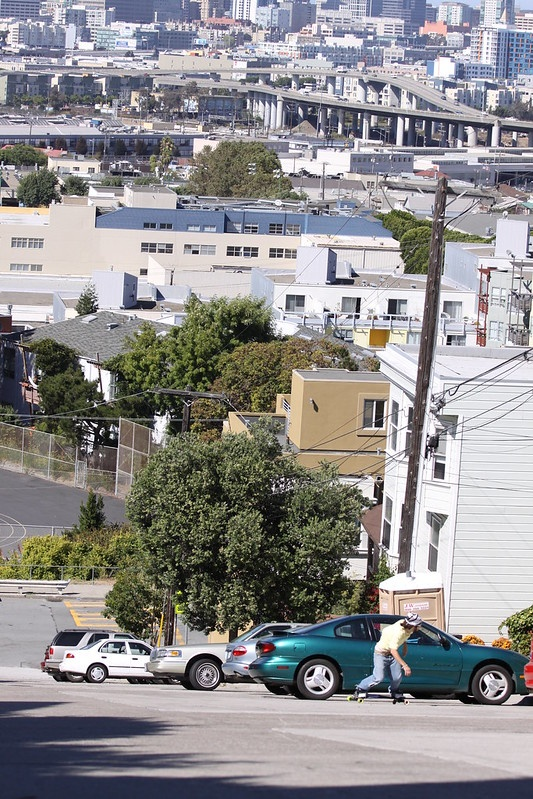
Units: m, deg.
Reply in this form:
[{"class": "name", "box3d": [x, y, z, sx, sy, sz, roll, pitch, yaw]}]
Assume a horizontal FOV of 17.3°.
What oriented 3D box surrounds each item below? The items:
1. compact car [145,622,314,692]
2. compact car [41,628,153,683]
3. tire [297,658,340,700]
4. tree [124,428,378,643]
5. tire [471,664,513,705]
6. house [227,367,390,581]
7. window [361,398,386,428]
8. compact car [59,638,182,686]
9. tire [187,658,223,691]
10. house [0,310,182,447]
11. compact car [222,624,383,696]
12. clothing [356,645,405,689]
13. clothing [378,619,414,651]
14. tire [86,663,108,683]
[{"class": "compact car", "box3d": [-0.614, 4.408, 29.472, 2.745, 1.056, 1.206, 2, -5, -10]}, {"class": "compact car", "box3d": [-3.657, 5.560, 37.464, 2.120, 0.992, 1.014, -3, 3, -12]}, {"class": "tire", "box3d": [0.733, 4.075, 25.752, 0.523, 0.598, 0.212, -2, 5, -4]}, {"class": "tree", "box3d": [-0.445, 2.795, 34.784, 4.129, 4.050, 2.962, 1, 7, -8]}, {"class": "tire", "box3d": [3.296, 4.205, 26.029, 0.544, 0.620, 0.205, -1, 2, -11]}, {"class": "house", "box3d": [1.171, 1.798, 41.377, 4.833, 5.141, 2.857, 1, 10, -3]}, {"class": "window", "box3d": [2.992, 0.331, 49.696, 0.738, 1.101, 0.074, 0, 3, 6]}, {"class": "compact car", "box3d": [-3.004, 5.714, 36.780, 2.343, 0.942, 1.117, -2, 2, -16]}, {"class": "tire", "box3d": [-1.042, 4.617, 29.522, 0.434, 0.490, 0.149, -4, 1, -21]}, {"class": "house", "box3d": [-8.550, 0.112, 86.618, 6.823, 2.372, 7.146, -20, 26, -41]}, {"class": "compact car", "box3d": [0.577, 3.764, 25.966, 2.319, 0.880, 1.075, -6, 5, -14]}, {"class": "clothing", "box3d": [1.697, 3.832, 24.681, 0.679, 0.843, 0.543, 7, -11, -31]}, {"class": "clothing", "box3d": [1.755, 3.285, 24.268, 0.340, 0.498, 0.601, -2, 8, -27]}, {"class": "tire", "box3d": [-3.537, 5.698, 36.539, 0.267, 0.290, 0.099, 25, 1, -6]}]
